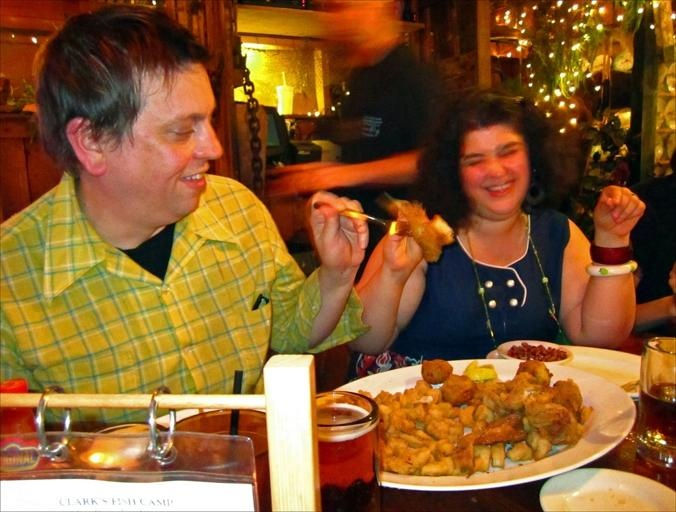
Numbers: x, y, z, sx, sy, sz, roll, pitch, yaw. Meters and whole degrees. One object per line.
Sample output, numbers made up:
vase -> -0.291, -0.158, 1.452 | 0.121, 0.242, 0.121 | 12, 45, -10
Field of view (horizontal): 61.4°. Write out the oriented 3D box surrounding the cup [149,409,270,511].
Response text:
cup -> -0.214, 0.326, 1.027 | 0.183, 0.136, 0.181 | 1, 1, 0

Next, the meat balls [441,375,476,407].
meat balls -> 0.317, 0.356, 1.504 | 0.079, 0.077, 0.049 | 15, -13, 8

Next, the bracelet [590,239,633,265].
bracelet -> 1.046, -0.008, 2.185 | 0.146, 0.087, 0.105 | 3, 14, 24

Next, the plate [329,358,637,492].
plate -> 0.468, 0.418, 1.439 | 0.369, 0.039, 0.376 | -12, 11, -38

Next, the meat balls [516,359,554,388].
meat balls -> 0.530, 0.311, 1.528 | 0.071, 0.055, 0.092 | 8, 1, 1

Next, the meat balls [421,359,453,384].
meat balls -> 0.283, 0.326, 1.624 | 0.064, 0.042, 0.074 | -15, 7, -38
